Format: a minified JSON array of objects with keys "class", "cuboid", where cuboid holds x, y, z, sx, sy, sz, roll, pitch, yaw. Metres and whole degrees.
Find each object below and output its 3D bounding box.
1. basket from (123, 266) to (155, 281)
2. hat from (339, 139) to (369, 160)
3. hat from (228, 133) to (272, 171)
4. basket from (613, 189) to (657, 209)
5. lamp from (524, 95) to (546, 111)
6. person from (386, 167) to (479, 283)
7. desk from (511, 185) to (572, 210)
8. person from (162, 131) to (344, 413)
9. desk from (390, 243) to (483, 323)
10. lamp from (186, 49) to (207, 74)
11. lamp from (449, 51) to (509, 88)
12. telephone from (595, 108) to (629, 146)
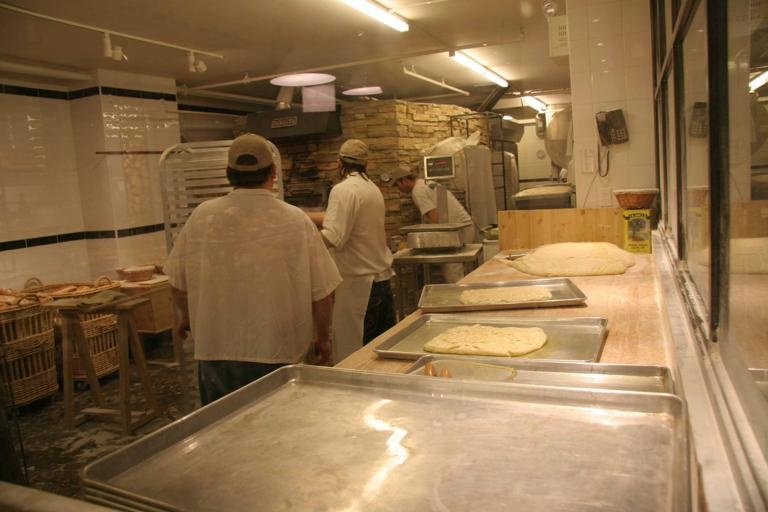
[{"class":"basket","cuboid":[-2.093,0.151,4.611,0.181,0.075,0.169,-9,4,-17]},{"class":"hat","cuboid":[-0.223,-0.761,3.781,0.164,0.098,0.204,-5,20,-24]},{"class":"hat","cuboid":[-0.568,-0.456,2.371,0.156,0.169,0.227,0,12,29]},{"class":"basket","cuboid":[1.525,-0.341,3.303,0.205,0.072,0.200,0,2,5]},{"class":"lamp","cuboid":[2.336,-2.360,8.342,0.316,0.196,0.917,0,11,28]},{"class":"person","cuboid":[0.523,-0.210,6.045,0.979,1.506,0.709,-4,12,15]},{"class":"desk","cuboid":[1.237,-0.437,4.225,0.444,0.171,0.742,-2,10,19]},{"class":"person","cuboid":[-0.573,0.060,2.391,0.734,1.172,0.377,-10,12,-15]},{"class":"desk","cuboid":[0.386,0.224,4.740,0.828,0.676,0.762,0,5,-1]},{"class":"lamp","cuboid":[-1.777,-1.847,5.128,0.142,0.191,0.399,-10,11,-17]},{"class":"lamp","cuboid":[1.049,-2.119,6.077,0.126,0.062,1.302,-35,-23,30]},{"class":"telephone","cuboid":[1.645,-0.927,3.893,0.216,0.252,0.078,-2,13,21]}]
